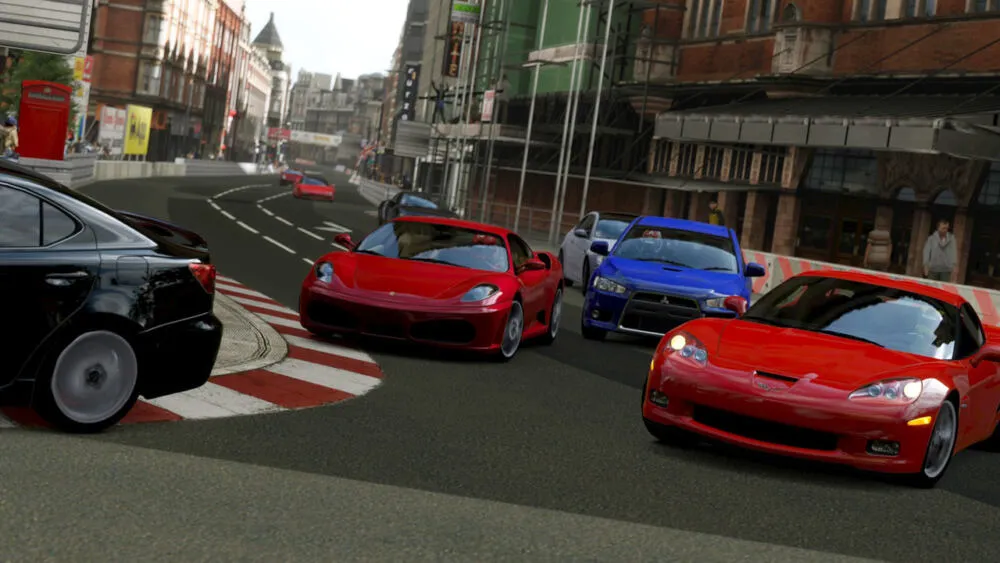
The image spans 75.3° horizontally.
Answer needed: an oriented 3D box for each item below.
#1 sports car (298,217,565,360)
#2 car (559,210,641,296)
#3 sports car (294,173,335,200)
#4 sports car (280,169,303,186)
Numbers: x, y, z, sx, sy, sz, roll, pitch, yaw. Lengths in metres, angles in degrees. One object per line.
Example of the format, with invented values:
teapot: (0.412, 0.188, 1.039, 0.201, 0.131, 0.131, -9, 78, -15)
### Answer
sports car: (-1.003, 0.252, 10.140, 4.106, 2.210, 2.136, -2, 14, -16)
car: (2.713, -0.985, 18.145, 1.746, 1.318, 2.948, 1, 1, -3)
sports car: (-14.650, -7.376, 50.907, 2.637, 1.643, 3.837, -1, 13, -10)
sports car: (-22.385, -11.060, 68.495, 2.459, 1.235, 4.152, 0, 8, -15)
